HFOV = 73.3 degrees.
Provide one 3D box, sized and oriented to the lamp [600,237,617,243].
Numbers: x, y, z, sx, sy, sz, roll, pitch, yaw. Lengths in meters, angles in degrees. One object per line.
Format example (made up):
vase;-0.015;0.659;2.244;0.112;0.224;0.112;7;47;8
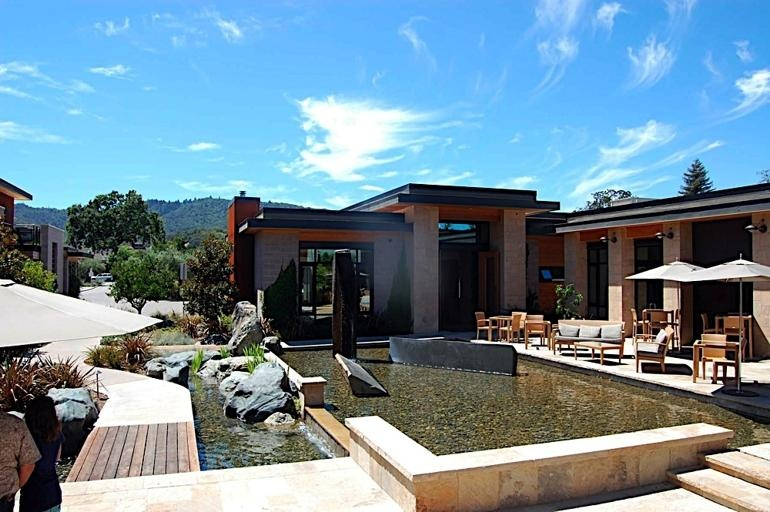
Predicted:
lamp;9.086;-0.694;21.060;0.416;0.190;0.302;3;0;-25

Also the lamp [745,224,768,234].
lamp;11.727;-0.880;16.267;0.316;0.192;0.351;-4;3;-42

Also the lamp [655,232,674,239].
lamp;10.301;-0.775;18.999;0.576;0.285;0.377;-4;-7;32
